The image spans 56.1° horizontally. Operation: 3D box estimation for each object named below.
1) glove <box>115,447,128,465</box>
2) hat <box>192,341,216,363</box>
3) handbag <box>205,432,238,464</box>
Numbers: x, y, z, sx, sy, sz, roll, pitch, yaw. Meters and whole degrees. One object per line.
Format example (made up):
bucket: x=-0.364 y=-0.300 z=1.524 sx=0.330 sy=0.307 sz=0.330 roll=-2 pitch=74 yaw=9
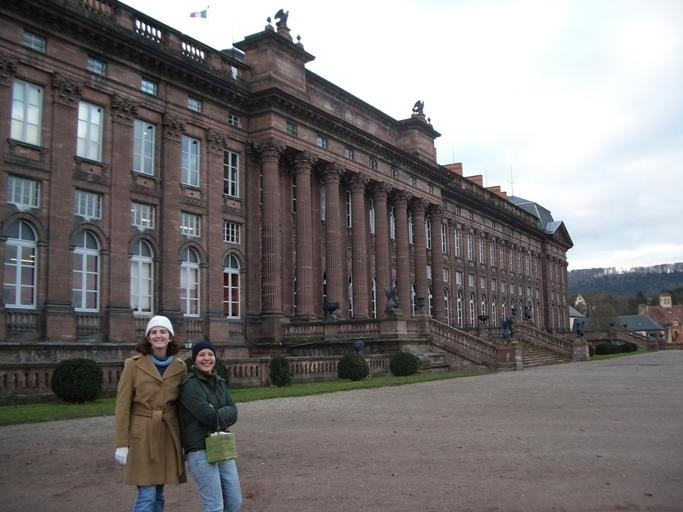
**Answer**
glove: x=-2.792 y=2.507 z=8.109 sx=0.130 sy=0.197 sz=0.369 roll=0 pitch=-12 yaw=-21
hat: x=-1.823 y=1.204 z=8.315 sx=0.282 sy=0.230 sz=0.288 roll=3 pitch=-22 yaw=-31
handbag: x=-1.505 y=2.363 z=7.888 sx=0.381 sy=0.387 sz=0.225 roll=-6 pitch=-4 yaw=14
